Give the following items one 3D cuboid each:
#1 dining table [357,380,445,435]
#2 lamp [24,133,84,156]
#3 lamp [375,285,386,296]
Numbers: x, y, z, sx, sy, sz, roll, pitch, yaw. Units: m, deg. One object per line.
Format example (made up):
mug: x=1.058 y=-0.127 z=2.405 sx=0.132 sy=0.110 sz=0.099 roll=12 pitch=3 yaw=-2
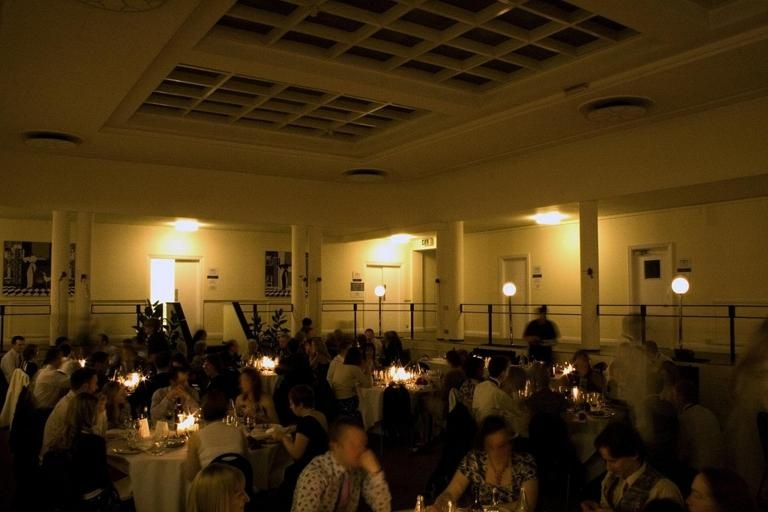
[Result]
dining table: x=0.301 y=2.365 z=9.010 sx=0.959 sy=0.499 sz=0.972 roll=-5 pitch=-6 yaw=26
lamp: x=-6.656 y=-2.232 z=11.297 sx=1.033 sy=0.265 sz=1.798 roll=3 pitch=-6 yaw=-32
lamp: x=-0.114 y=1.133 z=18.919 sx=0.391 sy=0.397 sz=1.196 roll=0 pitch=-5 yaw=0
